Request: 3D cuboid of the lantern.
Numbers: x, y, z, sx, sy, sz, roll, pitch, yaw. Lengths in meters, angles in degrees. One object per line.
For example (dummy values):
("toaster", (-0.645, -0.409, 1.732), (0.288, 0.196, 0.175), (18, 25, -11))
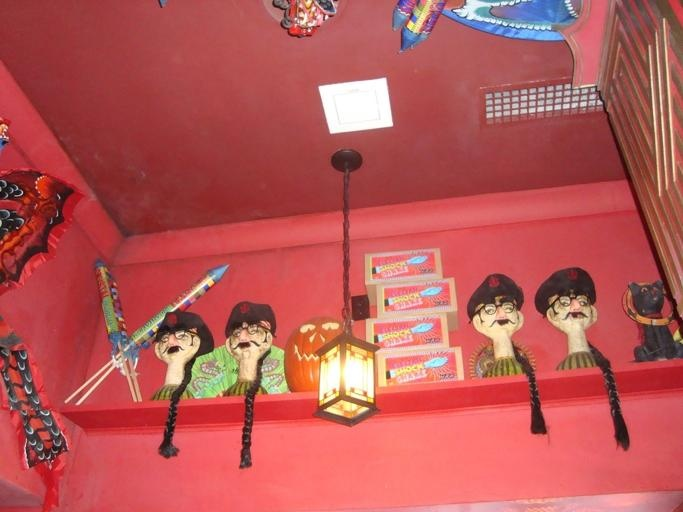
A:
("lantern", (-0.273, 0.791, 4.937), (0.469, 0.621, 0.488), (-11, -27, 28))
